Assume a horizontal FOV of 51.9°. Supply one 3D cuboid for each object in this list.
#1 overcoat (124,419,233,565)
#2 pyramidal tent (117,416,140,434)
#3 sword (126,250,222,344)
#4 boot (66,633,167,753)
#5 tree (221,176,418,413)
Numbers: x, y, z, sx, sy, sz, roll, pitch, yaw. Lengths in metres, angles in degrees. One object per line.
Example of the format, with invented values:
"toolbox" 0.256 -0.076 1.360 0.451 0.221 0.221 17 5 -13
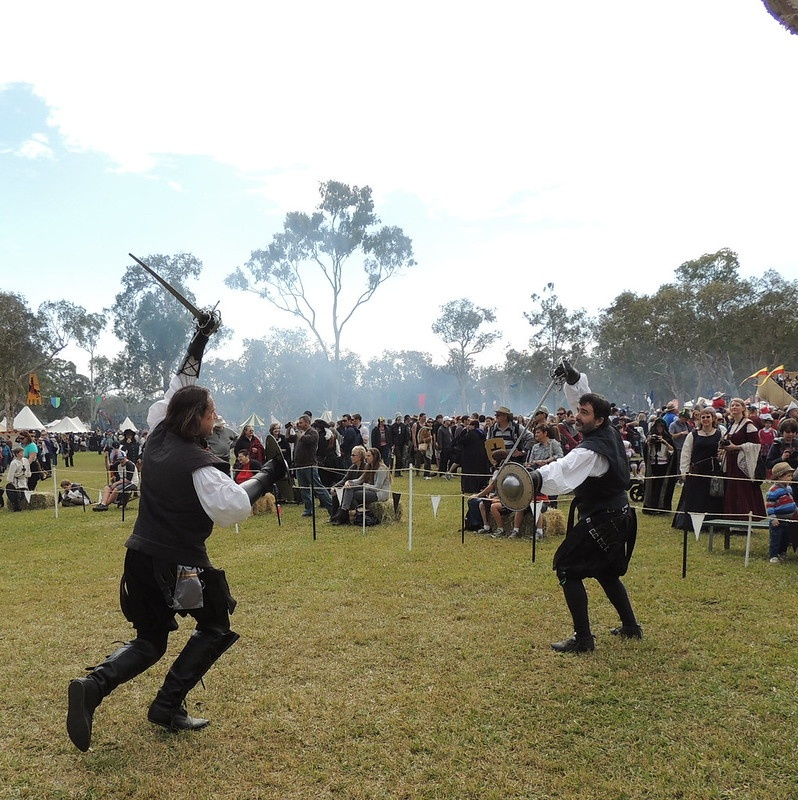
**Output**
"overcoat" -1.389 0.603 5.176 0.642 0.846 0.449 13 9 38
"pyramidal tent" -17.299 1.483 52.474 1.462 0.848 1.583 -1 -4 -6
"sword" -1.643 -0.715 5.693 0.873 0.361 0.392 30 -16 -30
"boot" -1.719 1.717 5.073 0.184 0.379 0.953 -8 7 16
"tree" -2.848 -6.534 37.147 5.238 6.807 4.865 7 2 -38
